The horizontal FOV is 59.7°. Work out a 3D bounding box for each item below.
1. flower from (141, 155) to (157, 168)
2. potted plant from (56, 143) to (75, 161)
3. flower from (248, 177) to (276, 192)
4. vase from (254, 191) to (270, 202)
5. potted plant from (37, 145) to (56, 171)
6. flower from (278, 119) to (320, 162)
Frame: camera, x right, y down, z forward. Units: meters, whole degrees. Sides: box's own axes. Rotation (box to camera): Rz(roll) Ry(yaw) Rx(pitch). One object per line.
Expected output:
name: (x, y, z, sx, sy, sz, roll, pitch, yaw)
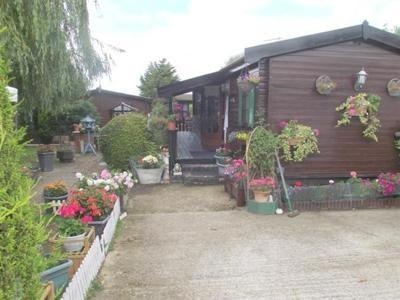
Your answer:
flower: (-1.762, 0.410, 12.238, 0.444, 0.394, 0.456, 1, 2, -7)
potted plant: (-7.052, 0.141, 18.239, 0.881, 0.682, 0.886, -3, 10, -41)
flower: (1.534, 0.855, 8.692, 0.411, 0.233, 0.427, 0, -1, -4)
vase: (1.501, 1.155, 8.599, 0.276, 0.174, 0.275, 3, -4, -32)
potted plant: (-6.659, 0.380, 15.140, 0.931, 1.245, 0.909, -3, -4, 43)
flower: (2.679, -0.216, 9.492, 1.170, 1.147, 0.516, -1, 7, 2)
